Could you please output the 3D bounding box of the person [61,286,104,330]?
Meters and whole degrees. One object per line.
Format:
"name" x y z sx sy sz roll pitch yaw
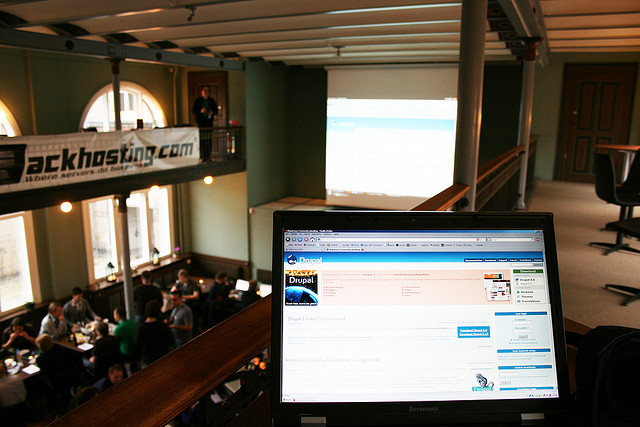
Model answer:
"person" -4.509 1.808 9.404 0.676 0.798 0.630 -9 22 -40

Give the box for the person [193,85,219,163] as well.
"person" -2.752 -2.079 12.026 0.538 1.695 1.480 -1 11 -10

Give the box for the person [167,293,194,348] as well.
"person" -2.348 1.778 8.427 0.361 0.929 0.379 -3 12 -15

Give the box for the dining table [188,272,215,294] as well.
"dining table" -3.177 1.797 13.325 0.641 0.426 0.925 3 6 4

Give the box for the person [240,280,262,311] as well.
"person" -1.260 1.483 8.903 0.264 0.584 0.699 -1 11 -8

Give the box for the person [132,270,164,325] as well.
"person" -3.278 1.592 9.469 0.559 1.142 1.191 -4 12 -21
